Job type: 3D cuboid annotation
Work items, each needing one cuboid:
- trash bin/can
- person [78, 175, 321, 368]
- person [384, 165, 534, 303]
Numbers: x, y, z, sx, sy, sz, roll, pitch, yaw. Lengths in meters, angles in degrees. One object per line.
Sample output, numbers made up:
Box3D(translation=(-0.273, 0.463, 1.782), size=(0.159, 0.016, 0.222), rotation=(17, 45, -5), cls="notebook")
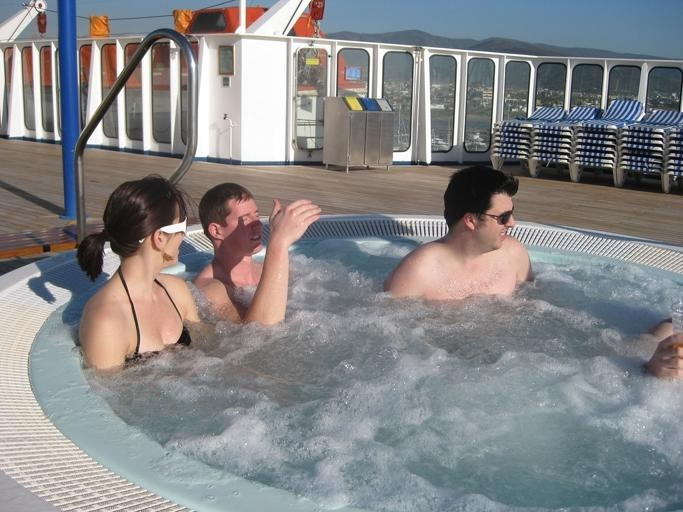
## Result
Box3D(translation=(0.285, -2.073, 9.441), size=(1.195, 1.460, 0.794), rotation=(-6, 15, -29), cls="trash bin/can")
Box3D(translation=(-0.630, -0.062, 2.564), size=(0.979, 1.050, 0.733), rotation=(-5, 22, -20), cls="person")
Box3D(translation=(0.768, -0.151, 3.258), size=(1.042, 0.828, 0.523), rotation=(-11, 28, -25), cls="person")
